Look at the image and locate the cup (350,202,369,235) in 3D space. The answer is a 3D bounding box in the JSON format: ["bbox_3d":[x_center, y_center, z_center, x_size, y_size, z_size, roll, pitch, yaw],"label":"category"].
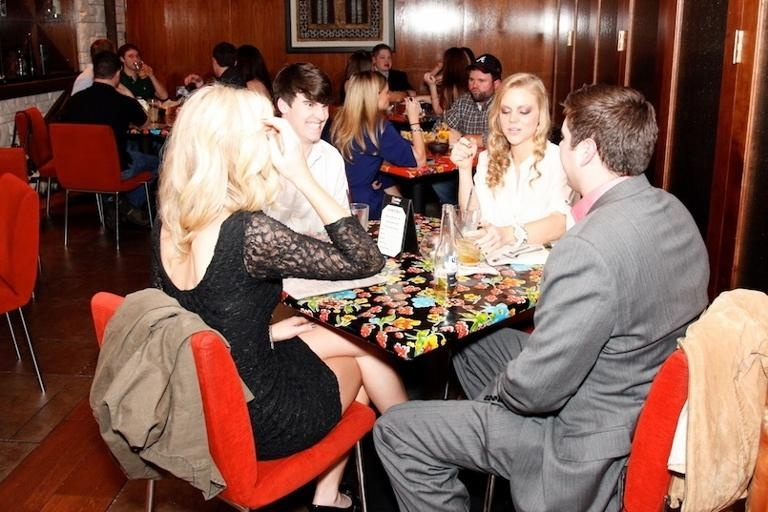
[{"bbox_3d":[-0.102,-0.173,2.439,0.113,0.131,0.117,1,26,0],"label":"cup"}]

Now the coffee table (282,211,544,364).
[{"bbox_3d":[0.137,0.121,2.289,1.047,0.200,1.075,19,26,26],"label":"coffee table"}]

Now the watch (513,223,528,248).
[{"bbox_3d":[0.574,-0.086,2.337,0.062,0.087,0.082,-4,0,-2],"label":"watch"}]

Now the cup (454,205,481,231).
[{"bbox_3d":[0.345,-0.157,2.282,0.092,0.108,0.093,-1,12,0],"label":"cup"}]

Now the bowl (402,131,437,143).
[{"bbox_3d":[0.282,-0.977,4.513,0.232,0.087,0.213,2,16,-1],"label":"bowl"}]

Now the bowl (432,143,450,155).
[{"bbox_3d":[0.421,-0.827,4.237,0.096,0.055,0.097,1,14,0],"label":"bowl"}]

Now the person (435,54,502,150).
[{"bbox_3d":[0.828,-1.216,5.036,0.654,1.082,0.602,2,24,8],"label":"person"}]

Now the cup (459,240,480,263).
[{"bbox_3d":[0.336,-0.017,2.183,0.083,0.088,0.085,-1,2,0],"label":"cup"}]

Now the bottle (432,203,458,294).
[{"bbox_3d":[0.224,-0.021,1.987,0.087,0.332,0.089,0,12,0],"label":"bottle"}]

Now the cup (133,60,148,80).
[{"bbox_3d":[-2.957,-2.267,6.687,0.070,0.155,0.153,1,-9,16],"label":"cup"}]

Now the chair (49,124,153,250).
[{"bbox_3d":[-2.661,-0.646,4.985,0.643,0.912,0.605,-5,5,-9],"label":"chair"}]

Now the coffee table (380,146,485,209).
[{"bbox_3d":[0.337,-0.488,4.313,0.614,0.503,0.624,16,36,43],"label":"coffee table"}]

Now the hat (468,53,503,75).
[{"bbox_3d":[0.912,-1.625,4.826,0.284,0.152,0.203,18,15,-30],"label":"hat"}]

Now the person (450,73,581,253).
[{"bbox_3d":[0.630,-0.410,2.736,0.555,0.878,0.616,-1,10,25],"label":"person"}]
